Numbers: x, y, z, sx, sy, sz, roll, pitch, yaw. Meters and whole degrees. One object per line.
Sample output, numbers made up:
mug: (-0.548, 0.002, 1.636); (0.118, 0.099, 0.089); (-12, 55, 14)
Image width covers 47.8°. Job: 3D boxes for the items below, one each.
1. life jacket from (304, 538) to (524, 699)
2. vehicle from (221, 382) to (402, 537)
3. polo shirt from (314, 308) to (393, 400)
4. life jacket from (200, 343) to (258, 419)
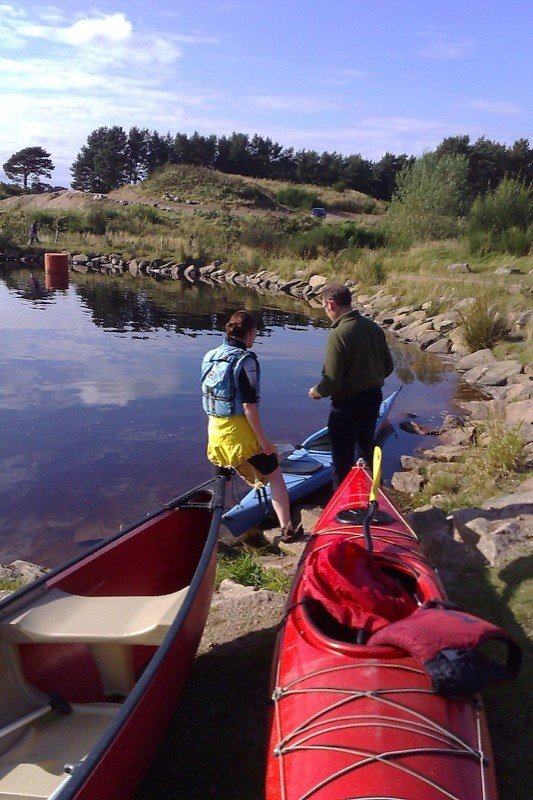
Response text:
life jacket: (0.498, 0.845, 2.392); (0.529, 0.272, 0.820); (-5, 8, -43)
vehicle: (0.719, 0.454, 6.718); (0.670, 0.565, 3.847); (21, 36, 27)
polo shirt: (0.725, -0.345, 4.851); (0.763, 0.739, 0.277); (-8, 16, -35)
life jacket: (-0.293, -0.135, 4.392); (0.401, 0.518, 0.429); (8, 10, 23)
